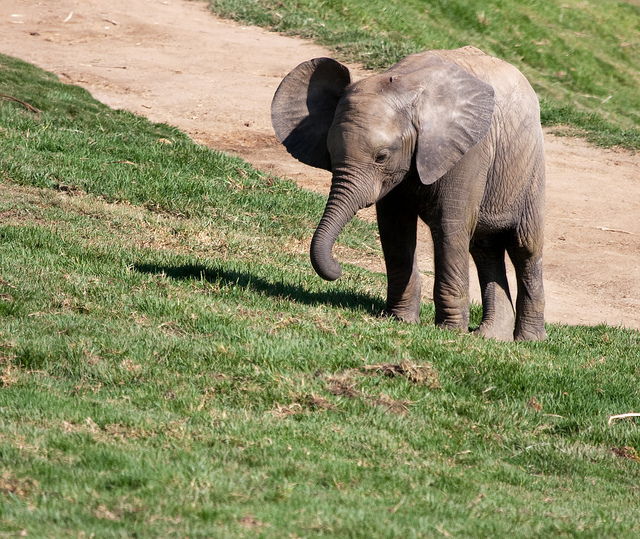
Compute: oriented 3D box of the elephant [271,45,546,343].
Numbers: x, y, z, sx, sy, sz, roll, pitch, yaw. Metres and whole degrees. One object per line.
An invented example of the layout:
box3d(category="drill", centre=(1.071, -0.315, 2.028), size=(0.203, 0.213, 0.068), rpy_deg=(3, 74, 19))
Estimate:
box3d(category="elephant", centre=(1.088, -0.623, 12.892), size=(2.251, 2.697, 3.871), rpy_deg=(0, 1, 41))
